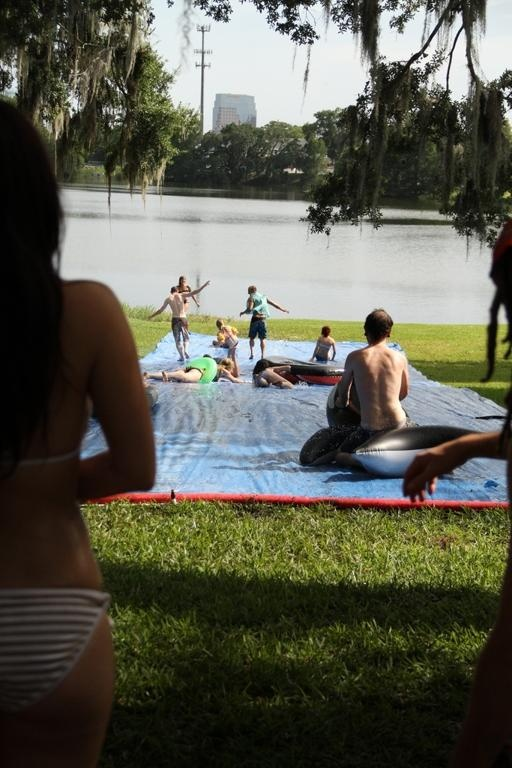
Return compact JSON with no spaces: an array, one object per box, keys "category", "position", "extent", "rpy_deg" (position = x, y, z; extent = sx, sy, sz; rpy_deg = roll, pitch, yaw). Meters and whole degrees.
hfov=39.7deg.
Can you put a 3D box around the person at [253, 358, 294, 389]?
[{"category":"person","position":[0.318,-0.203,12.948],"extent":[0.723,0.481,0.728],"rpy_deg":[1,6,1]}]

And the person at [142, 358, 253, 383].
[{"category":"person","position":[-1.041,-0.225,13.144],"extent":[0.755,0.420,1.267],"rpy_deg":[6,2,39]}]

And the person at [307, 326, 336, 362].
[{"category":"person","position":[1.492,-0.893,15.456],"extent":[0.493,0.767,1.170],"rpy_deg":[2,6,16]}]

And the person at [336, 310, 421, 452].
[{"category":"person","position":[1.239,0.097,7.892],"extent":[0.700,1.278,0.934],"rpy_deg":[-3,6,-31]}]

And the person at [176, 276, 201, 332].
[{"category":"person","position":[-1.603,-1.863,16.073],"extent":[0.322,1.273,0.725],"rpy_deg":[-13,-18,33]}]
